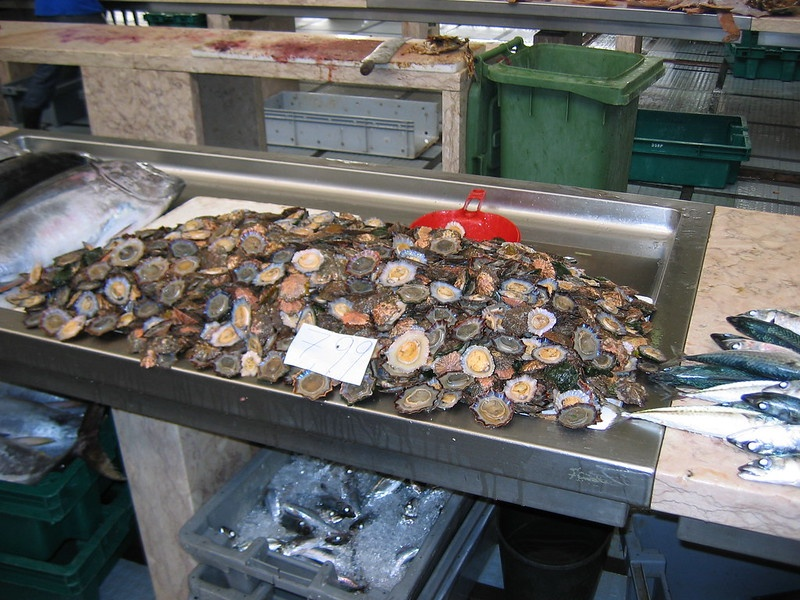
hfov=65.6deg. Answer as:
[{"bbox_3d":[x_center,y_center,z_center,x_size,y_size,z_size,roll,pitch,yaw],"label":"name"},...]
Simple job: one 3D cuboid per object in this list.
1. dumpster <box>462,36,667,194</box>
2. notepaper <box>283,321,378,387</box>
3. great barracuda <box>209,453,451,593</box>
[{"bbox_3d":[0.605,-0.783,2.786,0.958,0.717,0.713,11,35,18],"label":"dumpster"},{"bbox_3d":[-0.137,0.108,1.217,0.175,0.084,0.100,9,31,20],"label":"notepaper"},{"bbox_3d":[-0.160,0.582,1.629,0.389,0.062,0.324,12,29,19],"label":"great barracuda"}]
